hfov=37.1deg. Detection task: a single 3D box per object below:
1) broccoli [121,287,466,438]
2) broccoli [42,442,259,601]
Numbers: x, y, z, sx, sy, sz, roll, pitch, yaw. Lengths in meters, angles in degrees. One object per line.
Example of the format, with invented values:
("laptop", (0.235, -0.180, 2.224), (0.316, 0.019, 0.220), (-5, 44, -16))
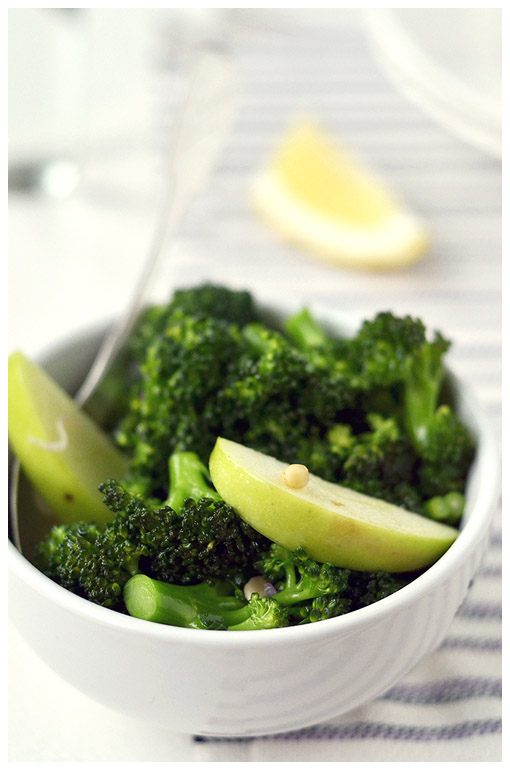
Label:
("broccoli", (0.058, 0.003, 1.201), (0.423, 0.184, 0.303), (-3, 19, 9))
("broccoli", (-0.129, 0.169, 0.842), (0.162, 0.076, 0.184), (-5, 24, 17))
